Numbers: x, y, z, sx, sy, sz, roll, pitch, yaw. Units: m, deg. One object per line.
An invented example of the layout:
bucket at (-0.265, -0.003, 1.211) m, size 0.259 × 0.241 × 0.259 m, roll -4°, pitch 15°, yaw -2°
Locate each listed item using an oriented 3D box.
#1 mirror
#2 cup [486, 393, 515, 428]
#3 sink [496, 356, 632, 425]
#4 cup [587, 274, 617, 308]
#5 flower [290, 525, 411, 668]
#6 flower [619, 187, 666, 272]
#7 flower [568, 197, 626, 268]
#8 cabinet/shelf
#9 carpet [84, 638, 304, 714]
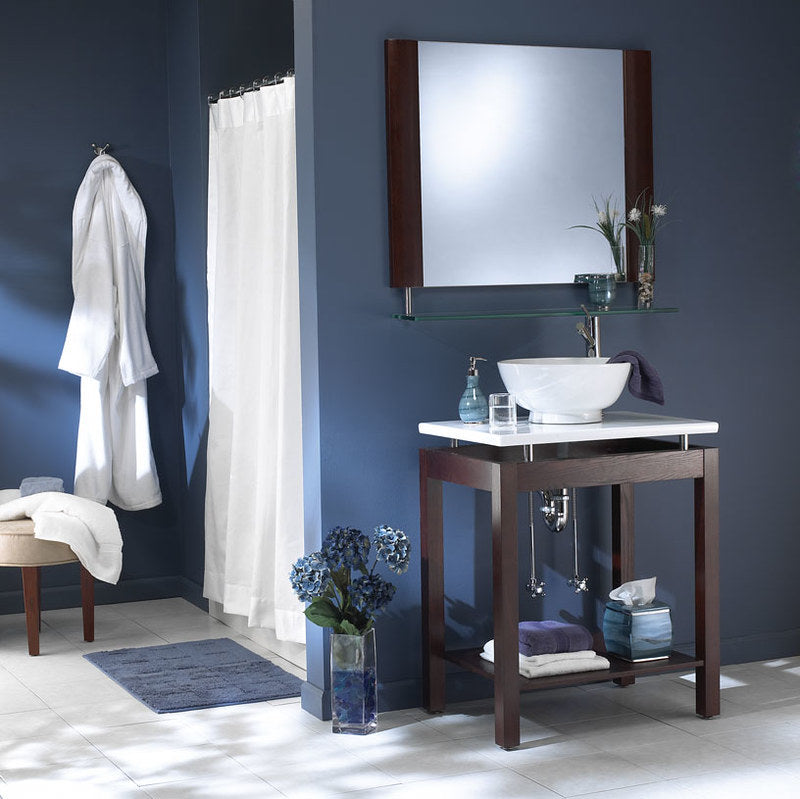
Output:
mirror at (0.375, -0.686, 2.725) m, size 0.772 × 0.824 × 0.070 m, roll -2°, pitch 5°, yaw -16°
cup at (0.283, 0.034, 2.446) m, size 0.072 × 0.101 × 0.078 m, roll 1°, pitch 0°, yaw 0°
sink at (0.461, -0.021, 2.434) m, size 0.362 × 0.179 × 0.212 m, roll -2°, pitch -1°, yaw 17°
cup at (0.668, -0.357, 2.816) m, size 0.105 × 0.092 × 0.040 m, roll 8°, pitch -5°, yaw -26°
flower at (-0.108, 0.529, 2.504) m, size 0.281 × 0.402 × 0.308 m, roll 2°, pitch 4°, yaw 23°
flower at (0.823, -0.537, 2.882) m, size 0.111 × 0.270 × 0.121 m, roll 5°, pitch 0°, yaw -16°
flower at (0.654, -0.554, 2.932) m, size 0.169 × 0.211 × 0.188 m, roll -4°, pitch 5°, yaw 3°
cabinet/shelf at (0.485, 0.487, 2.566) m, size 0.793 × 0.884 × 0.588 m, roll -1°, pitch -1°, yaw -25°
carpet at (-0.711, 0.955, 3.047) m, size 0.544 × 0.021 × 0.947 m, roll 0°, pitch -2°, yaw -36°
